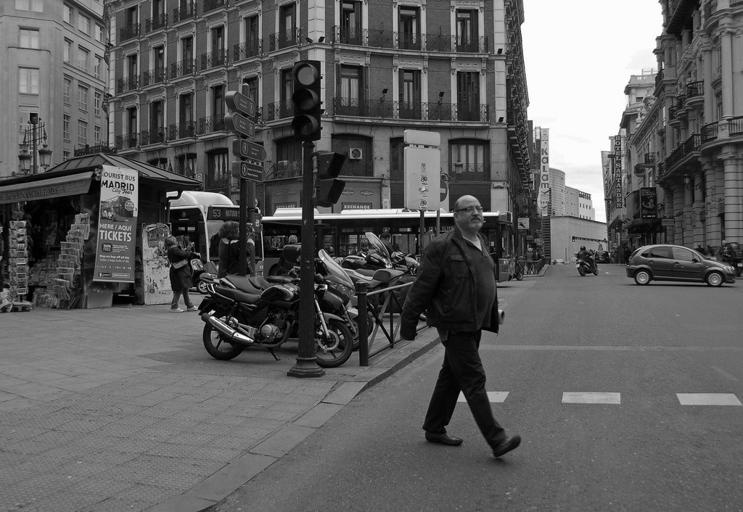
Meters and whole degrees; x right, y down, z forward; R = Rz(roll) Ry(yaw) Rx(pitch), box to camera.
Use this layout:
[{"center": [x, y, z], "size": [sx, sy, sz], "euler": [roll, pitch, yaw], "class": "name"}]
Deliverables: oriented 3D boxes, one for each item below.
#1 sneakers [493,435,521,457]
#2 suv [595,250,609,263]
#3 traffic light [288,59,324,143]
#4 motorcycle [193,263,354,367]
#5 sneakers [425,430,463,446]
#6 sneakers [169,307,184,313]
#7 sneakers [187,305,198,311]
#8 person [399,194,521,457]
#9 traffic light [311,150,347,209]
[{"center": [1.394, 1.952, 7.445], "size": [0.262, 0.264, 0.339], "euler": [1, 5, 8], "class": "sneakers"}, {"center": [34.407, 0.006, 106.871], "size": [1.524, 1.527, 2.860], "euler": [1, 9, 22], "class": "suv"}, {"center": [-0.955, -2.288, 10.425], "size": [0.416, 1.213, 0.502], "euler": [0, 4, -4], "class": "traffic light"}, {"center": [-1.578, 1.000, 11.486], "size": [2.573, 1.364, 0.877], "euler": [2, 5, 17], "class": "motorcycle"}, {"center": [0.794, 1.974, 7.885], "size": [0.419, 0.206, 0.154], "euler": [-1, 3, 9], "class": "sneakers"}, {"center": [-4.940, 1.356, 18.051], "size": [0.369, 0.184, 0.145], "euler": [-1, 0, 1], "class": "sneakers"}, {"center": [-4.671, 1.344, 18.482], "size": [0.266, 0.128, 0.102], "euler": [-7, -8, 33], "class": "sneakers"}, {"center": [0.923, 0.710, 7.616], "size": [1.169, 2.711, 0.657], "euler": [1, 5, 12], "class": "person"}, {"center": [-0.616, -1.141, 10.495], "size": [0.421, 0.799, 0.532], "euler": [0, 5, -2], "class": "traffic light"}]
